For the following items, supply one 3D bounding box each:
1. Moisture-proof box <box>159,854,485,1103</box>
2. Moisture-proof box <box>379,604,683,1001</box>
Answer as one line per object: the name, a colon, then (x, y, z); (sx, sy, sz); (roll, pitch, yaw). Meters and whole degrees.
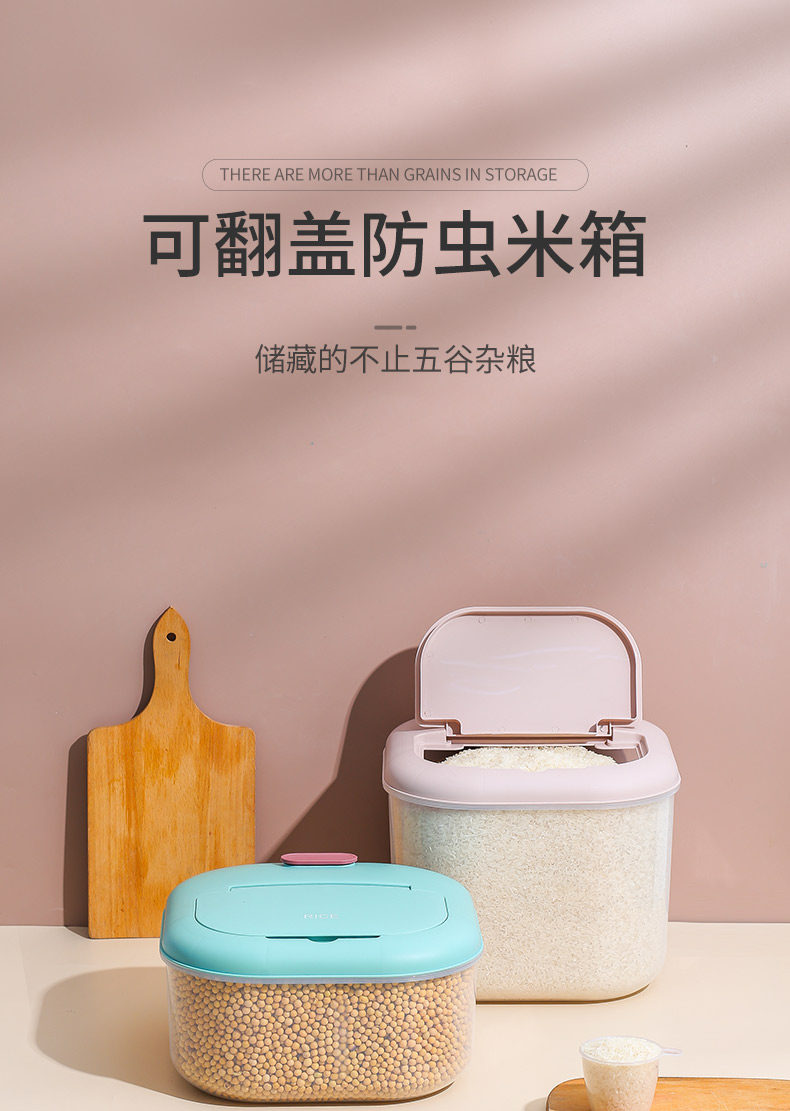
Moisture-proof box: (-0.056, 0.343, 1.025); (0.224, 0.096, 0.195); (0, -11, 0)
Moisture-proof box: (0.133, 0.245, 1.201); (0.281, 0.371, 0.208); (0, 6, 0)
